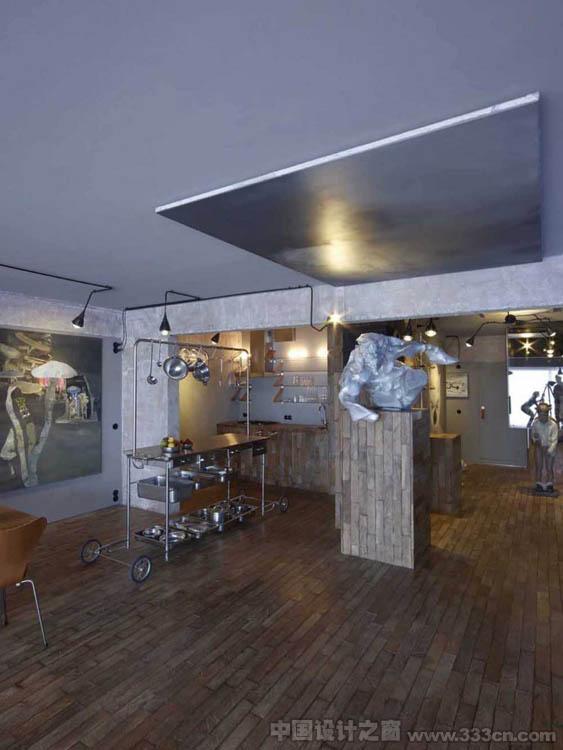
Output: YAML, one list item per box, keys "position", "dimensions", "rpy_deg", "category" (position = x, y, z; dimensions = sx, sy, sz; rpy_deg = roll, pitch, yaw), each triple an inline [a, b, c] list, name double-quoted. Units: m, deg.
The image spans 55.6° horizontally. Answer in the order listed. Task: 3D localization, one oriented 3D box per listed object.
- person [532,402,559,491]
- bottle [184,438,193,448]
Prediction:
- position: [3.544, 0.965, 7.267]
  dimensions: [0.290, 1.157, 0.792]
  rpy_deg: [0, 1, 27]
  category: "person"
- position: [-0.897, 0.648, 5.057]
  dimensions: [0.086, 0.083, 0.084]
  rpy_deg: [0, -12, 6]
  category: "bottle"
